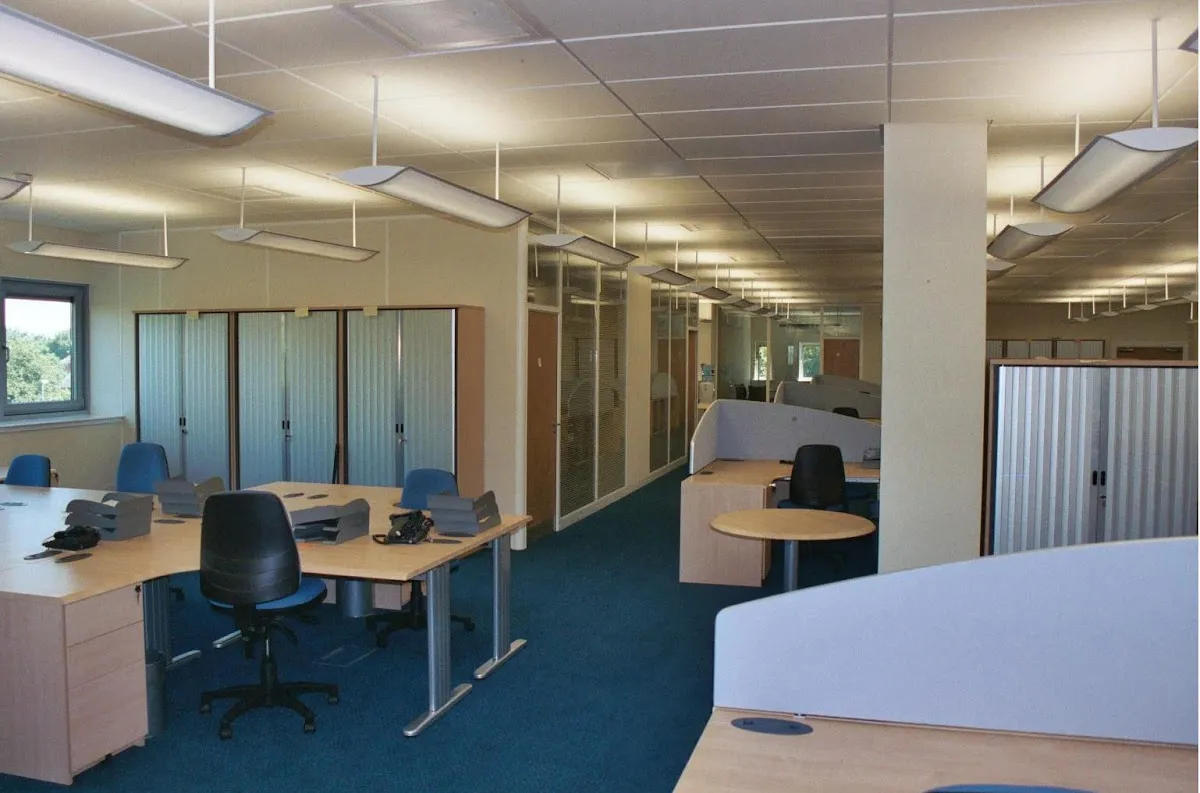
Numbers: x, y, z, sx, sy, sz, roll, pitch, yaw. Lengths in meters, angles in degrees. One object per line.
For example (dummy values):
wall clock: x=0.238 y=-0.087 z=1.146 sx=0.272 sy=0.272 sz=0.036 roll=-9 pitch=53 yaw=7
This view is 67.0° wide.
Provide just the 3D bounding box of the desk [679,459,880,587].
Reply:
desk: x=1.584 y=1.156 z=8.233 sx=1.180 sy=0.535 sz=1.101 roll=2 pitch=9 yaw=17
